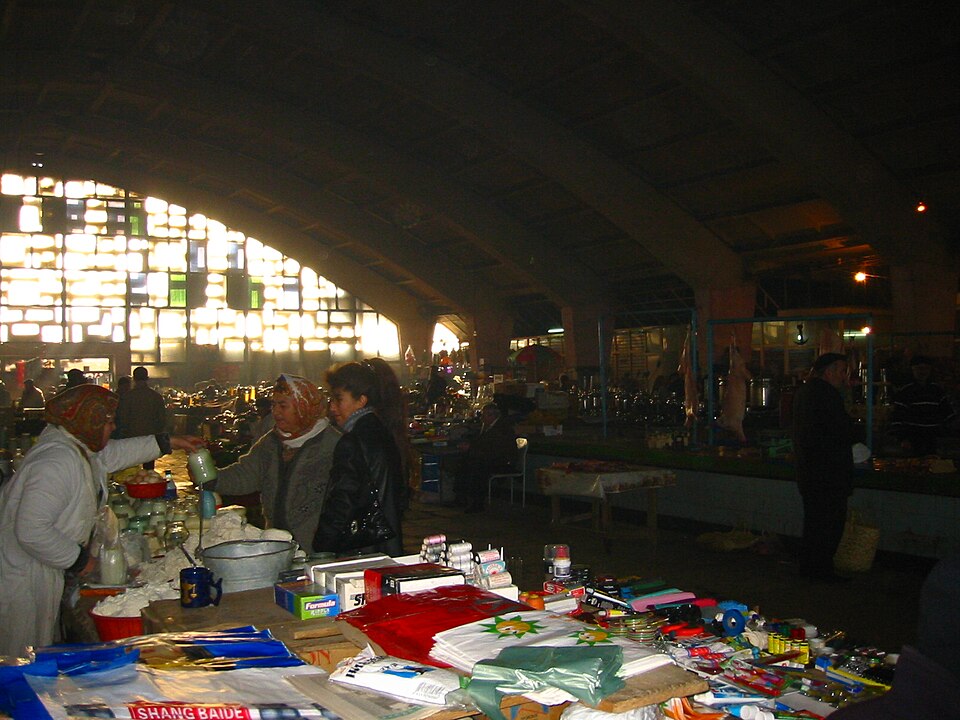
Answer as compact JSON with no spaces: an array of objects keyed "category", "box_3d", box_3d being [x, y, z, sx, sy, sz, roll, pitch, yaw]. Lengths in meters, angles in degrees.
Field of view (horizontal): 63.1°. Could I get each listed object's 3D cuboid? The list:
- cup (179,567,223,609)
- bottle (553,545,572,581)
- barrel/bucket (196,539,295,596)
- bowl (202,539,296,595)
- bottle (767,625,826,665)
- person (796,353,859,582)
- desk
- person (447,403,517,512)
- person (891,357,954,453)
[{"category":"cup","box_3d":[-1.049,0.863,2.944,0.180,0.114,0.109,6,-12,-17]},{"category":"bottle","box_3d":[0.353,0.866,3.379,0.088,0.131,0.204,-3,1,6]},{"category":"barrel/bucket","box_3d":[-0.943,0.859,3.259,0.406,0.144,0.357,0,0,18]},{"category":"bowl","box_3d":[-0.878,0.836,3.249,0.274,0.101,0.279,0,2,0]},{"category":"bottle","box_3d":[1.197,1.074,2.953,0.171,0.053,0.119,-2,3,-30]},{"category":"person","box_3d":[2.857,0.909,6.454,0.469,1.914,0.452,-2,2,14]},{"category":"desk","box_3d":[-0.375,0.910,2.605,1.982,0.186,0.456,-2,1,31]},{"category":"person","box_3d":[-0.005,1.316,10.905,0.689,1.352,1.479,-4,2,-24]},{"category":"person","box_3d":[4.702,0.498,8.304,0.580,1.003,0.351,-2,2,17]}]
